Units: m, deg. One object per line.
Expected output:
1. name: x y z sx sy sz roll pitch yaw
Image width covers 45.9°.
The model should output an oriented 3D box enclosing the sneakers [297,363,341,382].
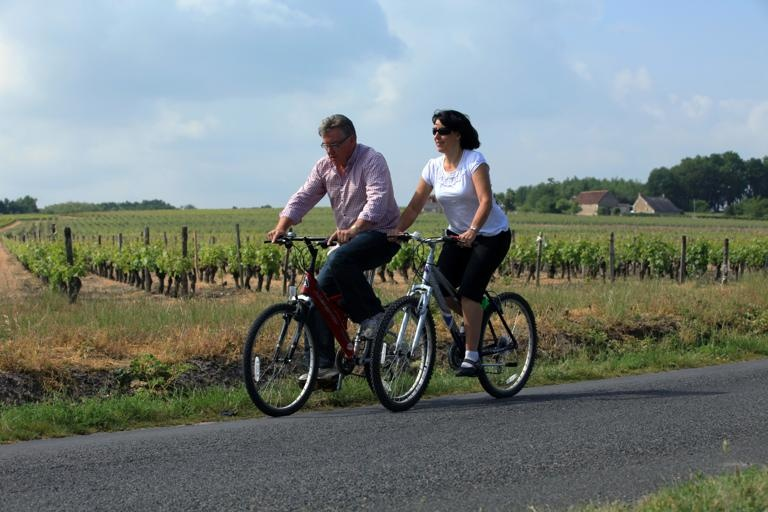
1. sneakers: -0.698 1.255 9.788 0.436 0.210 0.169 5 -12 -15

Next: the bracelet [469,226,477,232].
1. bracelet: 0.981 -0.301 9.908 0.058 0.062 0.047 8 44 12

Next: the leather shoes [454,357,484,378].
1. leather shoes: 0.952 1.233 10.133 0.140 0.158 0.347 -6 -17 26

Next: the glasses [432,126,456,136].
1. glasses: 0.625 -1.401 10.058 0.281 0.077 0.163 -4 3 -40

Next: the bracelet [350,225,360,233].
1. bracelet: -0.319 -0.303 9.689 0.091 0.096 0.132 -1 2 24

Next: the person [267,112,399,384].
1. person: -0.417 -0.349 9.960 1.126 2.397 0.794 -2 2 8
